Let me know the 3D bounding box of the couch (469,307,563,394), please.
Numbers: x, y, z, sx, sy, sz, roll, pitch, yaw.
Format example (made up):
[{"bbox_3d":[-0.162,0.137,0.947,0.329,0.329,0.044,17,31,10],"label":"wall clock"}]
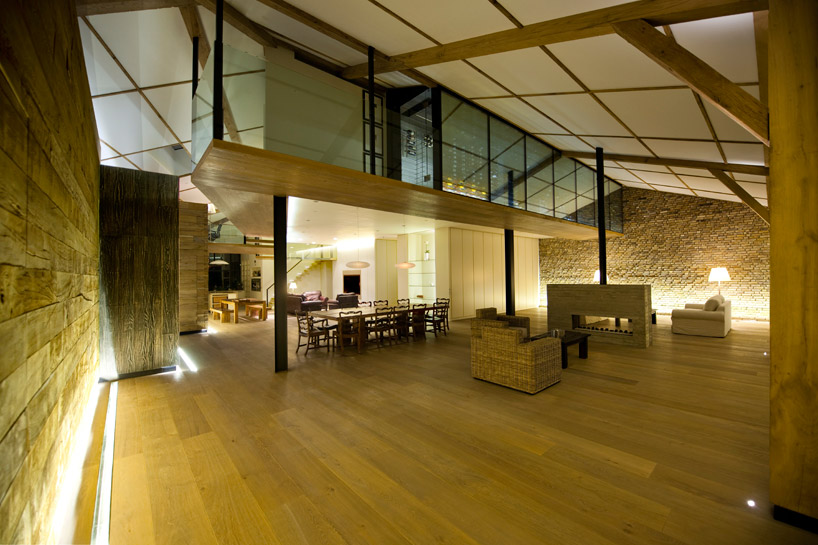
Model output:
[{"bbox_3d":[1.539,0.817,7.929,0.961,1.432,1.637,-5,4,-42],"label":"couch"}]

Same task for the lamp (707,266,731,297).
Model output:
[{"bbox_3d":[7.927,0.221,13.166,0.436,0.791,1.507,3,7,32],"label":"lamp"}]

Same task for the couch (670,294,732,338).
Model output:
[{"bbox_3d":[6.097,0.882,10.807,1.031,0.772,1.033,3,7,33],"label":"couch"}]
